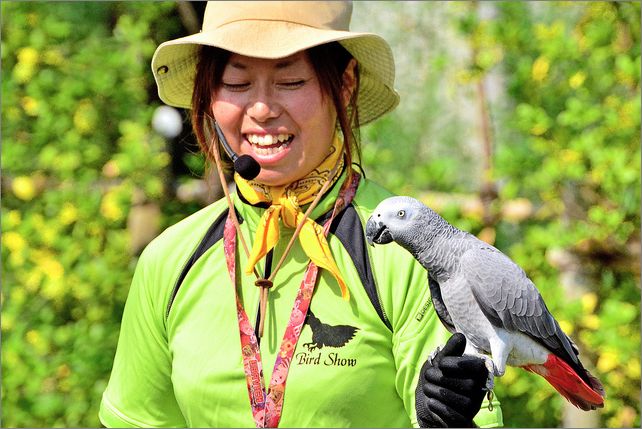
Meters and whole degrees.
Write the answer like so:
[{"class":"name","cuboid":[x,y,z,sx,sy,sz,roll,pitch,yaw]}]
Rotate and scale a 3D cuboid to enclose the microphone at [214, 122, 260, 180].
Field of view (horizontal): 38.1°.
[{"class":"microphone","cuboid":[-0.481,-0.340,5.381,0.195,0.397,0.111,-4,-27,-23]}]
